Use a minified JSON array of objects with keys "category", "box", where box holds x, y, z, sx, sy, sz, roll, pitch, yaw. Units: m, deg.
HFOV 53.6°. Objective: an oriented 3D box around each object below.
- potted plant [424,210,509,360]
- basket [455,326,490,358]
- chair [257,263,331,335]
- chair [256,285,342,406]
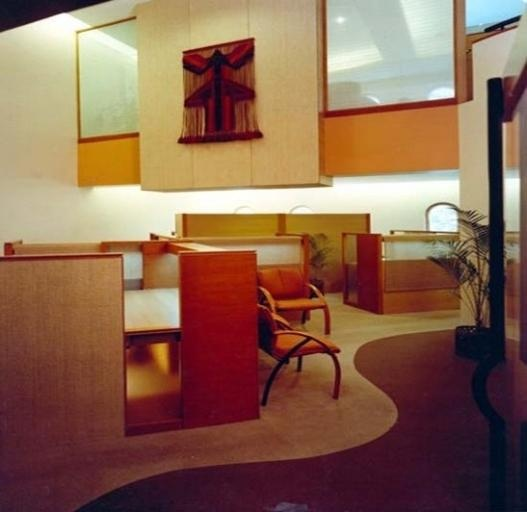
[{"category":"potted plant","box":[2.146,0.246,4.986,0.802,1.484,0.872,-3,7,-43]},{"category":"basket","box":[1.965,0.802,4.883,0.329,0.270,0.299,4,8,38]},{"category":"chair","box":[0.328,0.453,6.058,0.647,0.836,0.797,0,5,-22]},{"category":"chair","box":[0.238,0.639,4.220,0.579,0.859,0.864,-2,3,-10]}]
